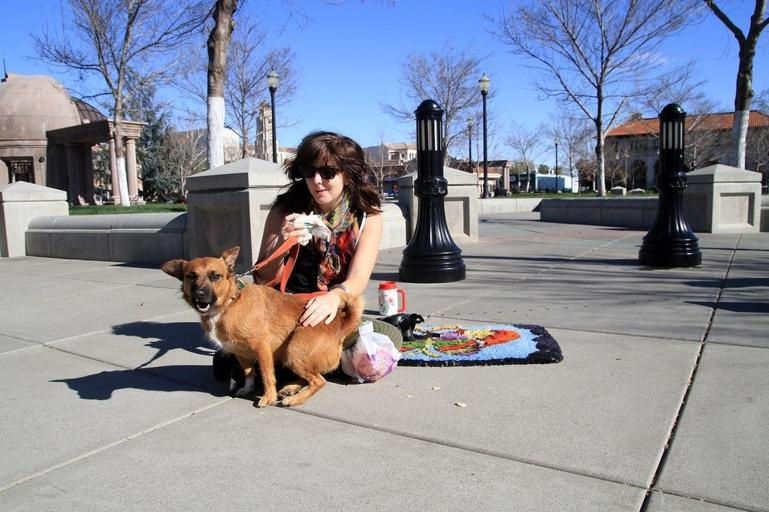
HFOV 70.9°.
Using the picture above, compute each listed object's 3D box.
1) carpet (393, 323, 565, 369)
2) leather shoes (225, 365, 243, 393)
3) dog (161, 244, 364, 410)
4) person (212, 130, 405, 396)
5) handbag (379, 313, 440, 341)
[{"bbox_3d":[0.874,0.818,5.091,1.442,0.076,0.928,-1,13,3],"label":"carpet"},{"bbox_3d":[-1.201,0.980,4.309,0.071,0.208,0.150,14,-17,-39],"label":"leather shoes"},{"bbox_3d":[-0.886,0.552,4.128,1.463,1.129,0.523,1,3,-24],"label":"dog"},{"bbox_3d":[-0.612,-0.027,4.449,1.526,1.913,1.156,2,8,-11],"label":"person"},{"bbox_3d":[0.226,0.682,5.276,0.377,0.118,0.321,1,2,-36],"label":"handbag"}]
